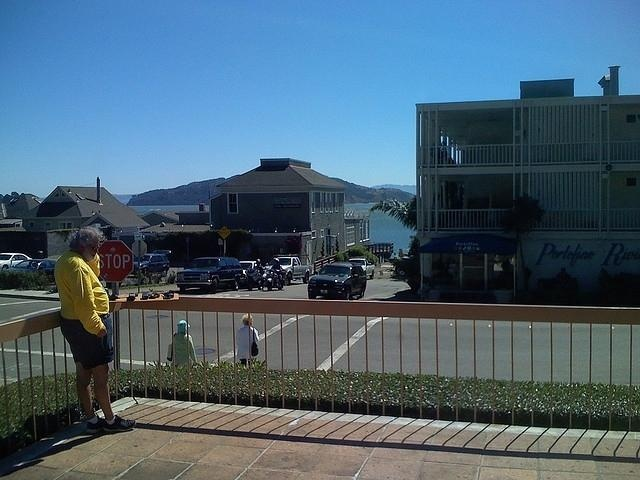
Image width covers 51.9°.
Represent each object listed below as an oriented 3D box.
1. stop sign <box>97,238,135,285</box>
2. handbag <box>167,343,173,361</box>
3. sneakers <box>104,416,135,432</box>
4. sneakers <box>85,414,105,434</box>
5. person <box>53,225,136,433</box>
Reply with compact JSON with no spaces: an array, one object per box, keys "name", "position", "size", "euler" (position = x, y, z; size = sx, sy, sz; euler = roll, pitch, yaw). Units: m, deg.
[{"name":"stop sign","position":[-4.683,0.472,14.990],"size":[0.962,0.968,0.079],"euler":[-1,-5,15]},{"name":"handbag","position":[-2.339,1.744,10.252],"size":[0.077,0.251,0.303],"euler":[1,-1,-13]},{"name":"sneakers","position":[-2.124,1.945,7.001],"size":[0.310,0.147,0.121],"euler":[-1,4,-12]},{"name":"sneakers","position":[-2.370,1.931,6.940],"size":[0.102,0.116,0.266],"euler":[0,0,0]},{"name":"person","position":[-2.350,0.932,6.766],"size":[0.696,2.136,0.577],"euler":[2,-1,-38]}]
